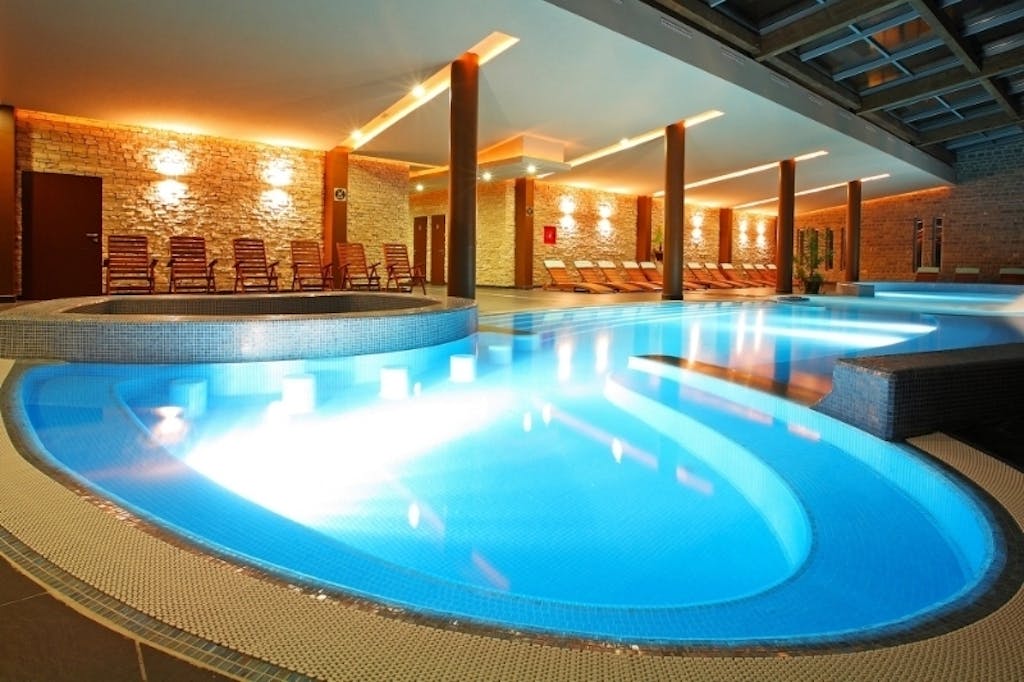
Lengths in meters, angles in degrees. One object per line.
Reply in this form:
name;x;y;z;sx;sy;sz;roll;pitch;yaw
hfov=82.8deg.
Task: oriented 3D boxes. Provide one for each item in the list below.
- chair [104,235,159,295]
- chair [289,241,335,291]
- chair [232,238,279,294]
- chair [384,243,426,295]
chair;-7.061;-1.396;10.632;0.680;1.023;1.472;-7;13;-34
chair;-4.524;-1.669;12.989;0.869;1.089;1.565;-3;11;-18
chair;-5.341;-1.568;12.105;0.881;1.083;1.845;-4;12;-24
chair;-2.561;-1.667;13.479;0.807;1.082;2.457;-2;11;-12
